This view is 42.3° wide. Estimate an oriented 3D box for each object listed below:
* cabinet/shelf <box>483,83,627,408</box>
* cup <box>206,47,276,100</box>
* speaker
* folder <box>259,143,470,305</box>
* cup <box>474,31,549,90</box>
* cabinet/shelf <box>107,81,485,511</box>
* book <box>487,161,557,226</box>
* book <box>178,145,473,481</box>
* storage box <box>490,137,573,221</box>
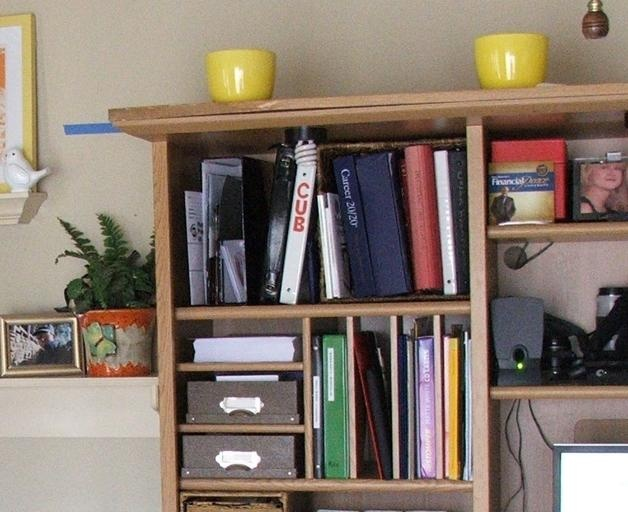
[{"bbox_3d":[0.643,-0.019,2.190,0.438,0.746,0.471,-2,-1,11],"label":"cabinet/shelf"},{"bbox_3d":[-0.191,-0.473,2.174,0.144,0.113,0.137,-1,5,0],"label":"cup"},{"bbox_3d":[0.552,0.230,2.315,0.186,0.368,0.218,-1,0,12],"label":"speaker"},{"bbox_3d":[0.146,-0.072,2.374,0.664,0.687,0.385,0,0,15],"label":"folder"},{"bbox_3d":[0.502,-0.490,2.085,0.145,0.125,0.156,0,4,0],"label":"cup"},{"bbox_3d":[-0.010,0.119,2.222,1.196,1.192,0.370,-1,-5,10],"label":"cabinet/shelf"},{"bbox_3d":[0.548,-0.163,2.118,0.158,0.156,0.055,0,-2,7],"label":"book"},{"bbox_3d":[0.043,0.167,2.201,0.831,1.025,0.323,-1,-5,10],"label":"book"},{"bbox_3d":[0.582,-0.169,2.127,0.248,0.258,0.180,0,-1,13],"label":"storage box"}]
